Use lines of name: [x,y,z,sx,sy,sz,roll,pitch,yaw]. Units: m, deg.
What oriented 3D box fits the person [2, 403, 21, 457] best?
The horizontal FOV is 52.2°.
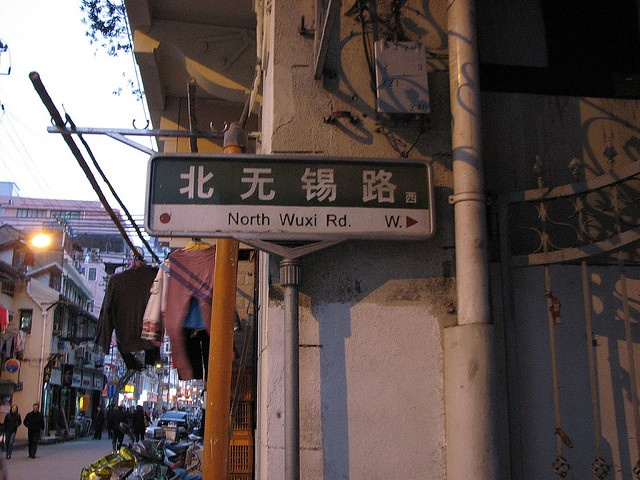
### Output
person: [-9.314,5.785,19.754,0.465,1.564,1.812,3,-16,-25]
